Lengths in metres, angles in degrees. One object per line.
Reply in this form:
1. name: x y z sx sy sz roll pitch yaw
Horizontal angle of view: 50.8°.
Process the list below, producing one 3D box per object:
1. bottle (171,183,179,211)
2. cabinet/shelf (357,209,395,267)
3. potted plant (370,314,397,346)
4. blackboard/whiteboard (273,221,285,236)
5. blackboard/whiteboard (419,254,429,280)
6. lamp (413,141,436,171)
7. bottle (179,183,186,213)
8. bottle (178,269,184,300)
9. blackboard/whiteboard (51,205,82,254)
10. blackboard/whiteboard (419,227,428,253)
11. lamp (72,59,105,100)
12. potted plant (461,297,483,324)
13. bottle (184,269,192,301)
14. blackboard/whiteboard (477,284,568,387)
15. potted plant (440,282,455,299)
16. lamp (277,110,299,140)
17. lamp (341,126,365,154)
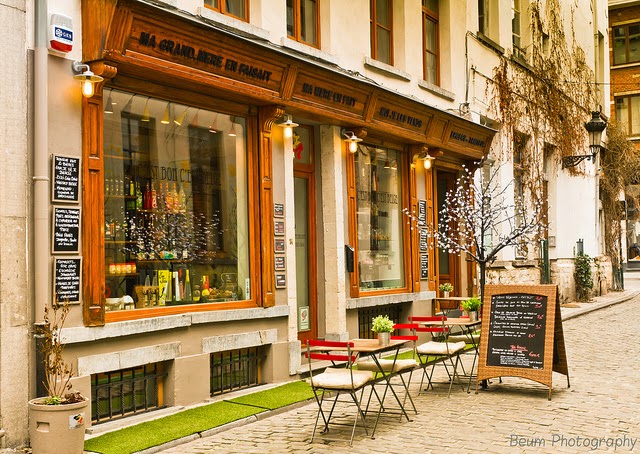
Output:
1. bottle: -2.339 -0.453 10.986 0.056 0.433 0.127 -8 -7 34
2. cabinet/shelf: 1.215 0.279 14.791 0.343 1.145 1.139 -4 -4 31
3. potted plant: 0.932 1.548 10.227 0.438 0.579 0.517 -2 -4 12
4. blackboard/whiteboard: -0.724 0.044 12.096 0.025 0.274 0.214 -13 -14 37
5. blackboard/whiteboard: 2.455 0.981 15.915 0.058 0.682 0.542 -3 -5 30
6. lamp: 2.477 -1.746 15.812 0.386 0.573 0.767 -3 -3 30
7. bottle: -2.235 -0.451 11.084 0.045 0.448 0.124 -8 -8 39
8. bottle: -2.223 0.938 10.916 0.042 0.487 0.115 -8 -7 36
9. blackboard/whiteboard: -3.495 0.062 9.365 0.091 0.648 0.406 -8 -7 36
10. blackboard/whiteboard: 2.450 0.319 15.961 0.045 0.695 0.540 3 3 32
11. lamp: -3.283 -2.067 9.728 0.449 0.602 0.429 -1 -4 18
12. potted plant: 2.852 1.561 12.505 0.344 0.454 0.389 -1 -1 -2
13. bottle: -2.140 0.963 10.989 0.038 0.529 0.171 -8 -8 40
14. blackboard/whiteboard: 3.351 1.852 11.210 1.504 2.337 1.180 -1 -1 36
15. potted plant: 3.103 1.562 16.370 0.357 0.426 0.394 3 -2 10
16. lamp: -0.547 -1.854 12.387 0.372 0.447 0.407 0 -1 6
17. lamp: 0.754 -1.728 13.844 0.467 0.638 0.412 -3 -6 43
